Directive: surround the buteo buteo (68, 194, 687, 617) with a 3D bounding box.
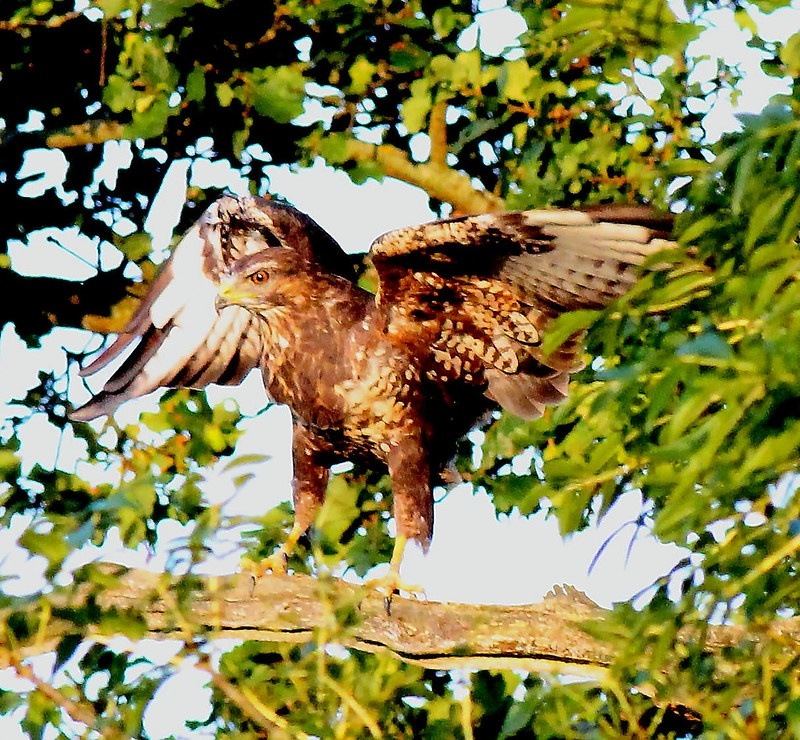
[{"bbox_3d":[-0.138,0.105,6.370,1.907,1.175,1.190,2,-3,29],"label":"buteo buteo"}]
